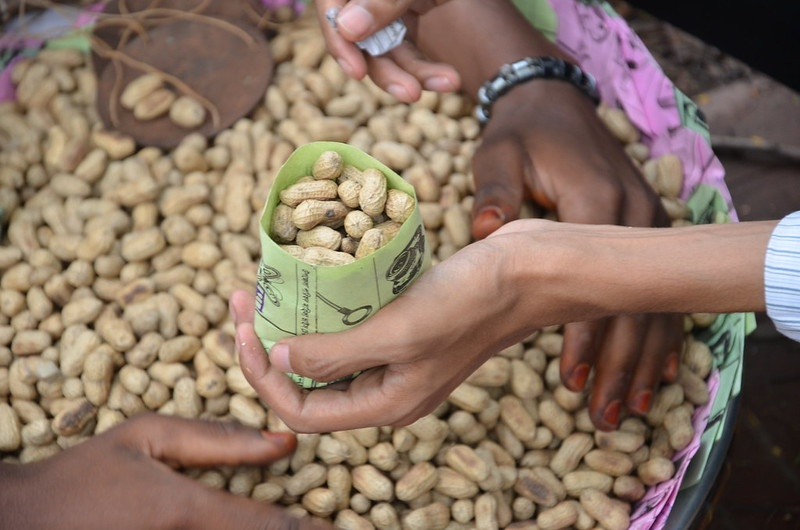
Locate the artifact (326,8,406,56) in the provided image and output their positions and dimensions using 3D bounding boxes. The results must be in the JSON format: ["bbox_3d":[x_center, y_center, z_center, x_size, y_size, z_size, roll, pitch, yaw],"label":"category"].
[{"bbox_3d":[-0.079,-0.590,1.881,0.138,0.046,0.116,41,80,0],"label":"artifact"}]

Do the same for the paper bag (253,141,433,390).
[{"bbox_3d":[-0.134,0.025,1.709,0.290,0.479,0.390,32,71,7],"label":"paper bag"}]
